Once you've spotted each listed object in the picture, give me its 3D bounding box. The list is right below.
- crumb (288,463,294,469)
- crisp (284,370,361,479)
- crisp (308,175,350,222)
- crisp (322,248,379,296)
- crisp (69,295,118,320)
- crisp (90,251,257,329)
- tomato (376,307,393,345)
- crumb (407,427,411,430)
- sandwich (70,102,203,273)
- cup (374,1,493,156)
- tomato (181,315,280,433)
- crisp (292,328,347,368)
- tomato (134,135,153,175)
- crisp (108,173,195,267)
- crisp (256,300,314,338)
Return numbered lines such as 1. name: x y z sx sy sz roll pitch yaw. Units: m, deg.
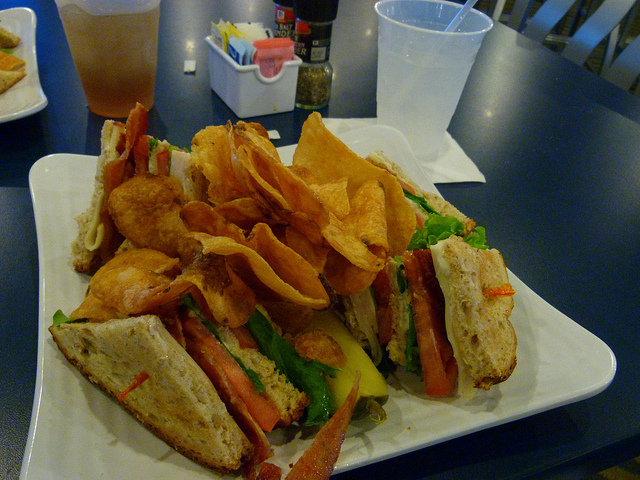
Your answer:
1. crumb: -0.047 0.365 0.830 0.011 0.011 0.003 -3 2 29
2. crisp: 0.024 0.306 0.816 0.054 0.103 0.171 31 45 16
3. crisp: 0.023 -0.080 0.946 0.078 0.024 0.080 -1 54 -6
4. crisp: 0.050 0.059 0.917 0.105 0.080 0.088 -1 18 -6
5. crisp: -0.384 0.118 0.865 0.050 0.018 0.059 24 38 22
6. crisp: -0.145 0.065 0.840 0.132 0.064 0.163 34 36 -26
7. tomato: 0.124 0.164 0.985 0.043 0.059 0.014 -10 -7 36
8. crumb: 0.152 0.322 0.877 0.005 0.002 0.004 9 44 -8
9. sandwich: -0.339 -0.029 1.001 0.301 0.089 0.285 40 61 22
10. cup: 0.310 -0.405 1.506 0.270 0.516 0.285 1 26 -1
11. tomato: -0.150 0.223 0.876 0.053 0.068 0.267 -49 58 -3
12. crisp: 0.009 0.193 0.907 0.077 0.029 0.088 22 23 -2
13. tomato: -0.334 -0.164 0.978 0.034 0.063 0.063 -2 46 -18
14. crisp: -0.318 -0.043 0.973 0.134 0.181 0.045 -40 21 -16
15. crisp: -0.056 0.138 0.927 0.079 0.027 0.074 20 33 11
